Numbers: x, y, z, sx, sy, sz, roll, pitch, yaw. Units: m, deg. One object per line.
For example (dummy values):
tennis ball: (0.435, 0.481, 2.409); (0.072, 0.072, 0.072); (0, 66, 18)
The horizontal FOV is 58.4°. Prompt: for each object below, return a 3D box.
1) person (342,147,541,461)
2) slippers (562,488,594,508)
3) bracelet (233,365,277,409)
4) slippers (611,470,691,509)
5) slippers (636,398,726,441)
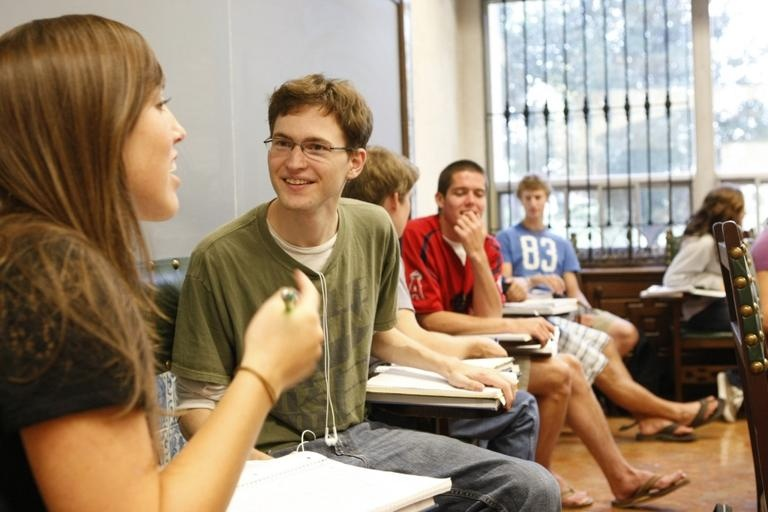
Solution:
person: (0.282, 0.311, 2.412); (0.462, 1.211, 0.624); (-2, 16, -24)
slippers: (0.859, 1.071, 3.034); (0.123, 0.044, 0.076); (-1, 2, 35)
bracelet: (-0.215, 0.214, 1.178); (0.016, 0.061, 0.065); (-40, -15, -32)
slippers: (1.122, 0.982, 2.922); (0.337, 0.088, 0.135); (-26, -2, -10)
slippers: (1.669, 0.938, 3.807); (0.541, 0.155, 0.210); (-11, 0, 9)
